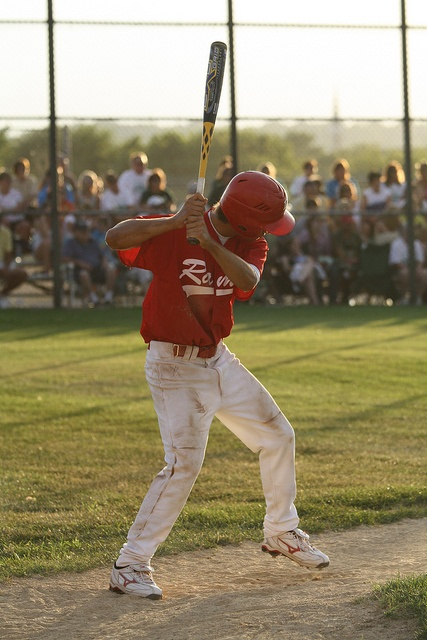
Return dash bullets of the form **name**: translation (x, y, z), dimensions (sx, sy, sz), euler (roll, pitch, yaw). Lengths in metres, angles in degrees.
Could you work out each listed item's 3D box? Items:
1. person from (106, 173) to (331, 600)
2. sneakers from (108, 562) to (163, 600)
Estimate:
- **person**: translation (-0.019, 0.246, 3.813), dimensions (0.922, 1.649, 0.486), euler (-4, 12, -11)
- **sneakers**: translation (-0.313, 1.024, 3.771), dimensions (0.254, 0.099, 0.090), euler (3, -2, 34)
